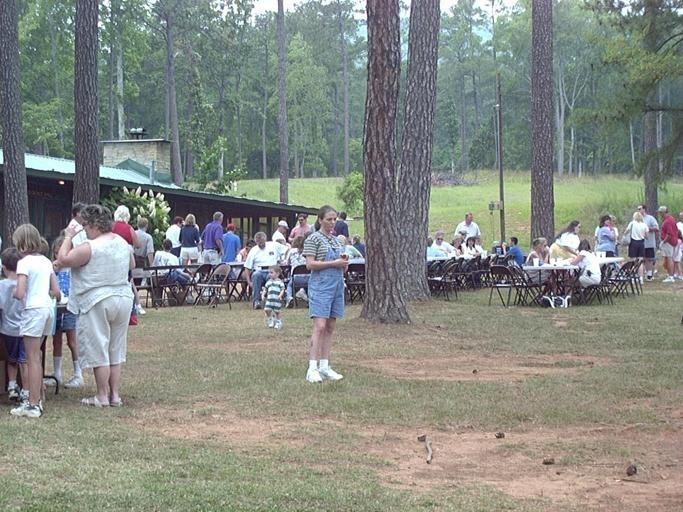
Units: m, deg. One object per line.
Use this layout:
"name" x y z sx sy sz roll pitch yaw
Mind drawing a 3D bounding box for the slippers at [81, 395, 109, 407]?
"slippers" -6.076 3.600 35.091 0.523 0.179 0.293 4 -3 14
